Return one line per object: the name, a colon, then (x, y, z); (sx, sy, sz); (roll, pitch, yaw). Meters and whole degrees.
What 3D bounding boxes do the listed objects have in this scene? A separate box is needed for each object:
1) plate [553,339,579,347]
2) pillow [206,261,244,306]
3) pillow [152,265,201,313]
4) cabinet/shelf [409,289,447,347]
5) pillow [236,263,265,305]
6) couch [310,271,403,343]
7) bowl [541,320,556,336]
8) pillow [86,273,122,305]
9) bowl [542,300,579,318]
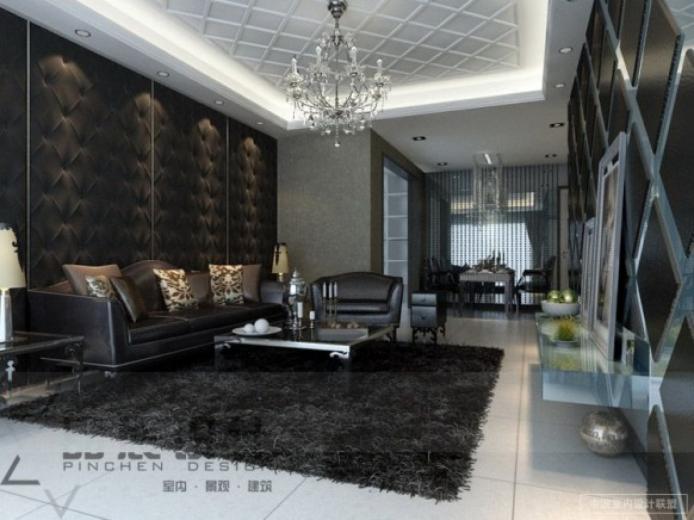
plate: (1.366, 0.503, 2.991); (0.150, 0.039, 0.089); (1, 6, 5)
pillow: (-1.417, 0.291, 5.662); (0.382, 0.488, 0.184); (13, -26, -40)
pillow: (-1.781, 0.294, 5.071); (0.127, 0.409, 0.433); (-26, 0, 19)
cabinet/shelf: (0.912, 0.618, 5.776); (0.348, 0.602, 0.656); (-2, -4, 18)
pillow: (-1.179, 0.302, 5.915); (0.418, 0.504, 0.189); (0, -9, -18)
couch: (0.183, 0.668, 5.843); (1.162, 0.820, 0.693); (0, -2, 18)
bowl: (1.424, 0.475, 3.426); (0.081, 0.038, 0.082); (-3, 2, 0)
pillow: (-2.063, 0.251, 4.131); (0.102, 0.198, 0.225); (-7, 2, 17)
bowl: (1.717, 0.394, 3.900); (0.280, 0.144, 0.270); (0, 6, 0)
